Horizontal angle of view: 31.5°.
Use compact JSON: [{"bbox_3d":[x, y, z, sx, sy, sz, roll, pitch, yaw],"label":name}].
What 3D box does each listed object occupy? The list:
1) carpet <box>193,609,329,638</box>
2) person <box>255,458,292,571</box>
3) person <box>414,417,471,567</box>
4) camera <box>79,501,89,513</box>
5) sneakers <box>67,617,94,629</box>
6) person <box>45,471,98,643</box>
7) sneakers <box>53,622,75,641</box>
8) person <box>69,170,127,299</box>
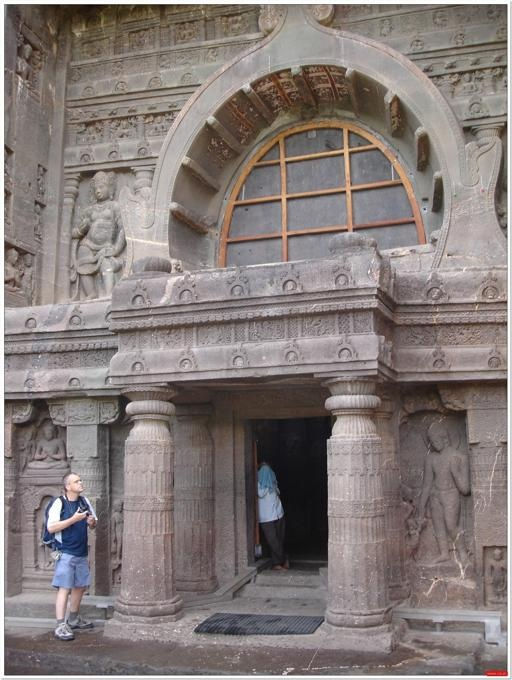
[{"bbox_3d":[0.057,2.846,9.024,1.216,0.193,0.846,-4,-15,8],"label":"carpet"},{"bbox_3d":[0.218,2.216,11.334,0.364,1.333,0.361,-2,-14,0],"label":"person"},{"bbox_3d":[2.044,1.692,9.922,0.579,1.634,0.185,-4,-14,9],"label":"person"},{"bbox_3d":[-1.715,1.702,9.160,0.079,0.115,0.112,6,-46,-17],"label":"camera"},{"bbox_3d":[-1.806,2.972,9.476,0.278,0.137,0.112,3,-6,-5],"label":"sneakers"},{"bbox_3d":[-1.874,2.217,9.196,0.503,1.625,0.885,1,-14,-12],"label":"person"},{"bbox_3d":[-1.877,2.919,9.031,0.109,0.122,0.264,5,-6,-20],"label":"sneakers"},{"bbox_3d":[-2.186,-1.479,12.855,1.123,1.897,0.274,-14,-18,41],"label":"person"}]
